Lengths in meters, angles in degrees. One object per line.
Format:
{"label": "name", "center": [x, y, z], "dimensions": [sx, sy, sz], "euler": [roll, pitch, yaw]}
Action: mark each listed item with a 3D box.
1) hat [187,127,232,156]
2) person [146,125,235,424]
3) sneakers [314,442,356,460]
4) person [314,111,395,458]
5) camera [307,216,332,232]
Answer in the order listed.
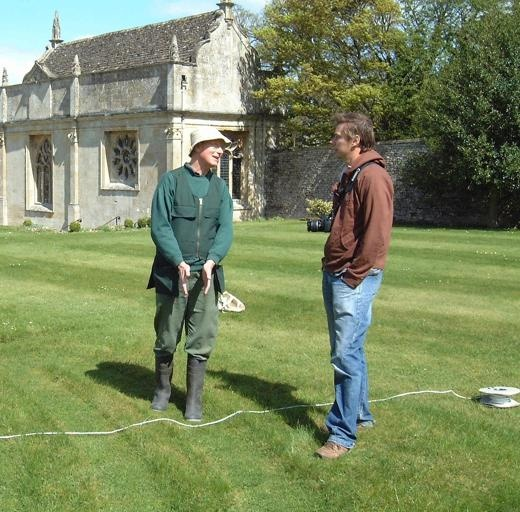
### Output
{"label": "hat", "center": [-0.409, -0.898, 4.922], "dimensions": [0.243, 0.158, 0.204], "euler": [-10, -4, 14]}
{"label": "person", "center": [-0.527, 0.131, 4.925], "dimensions": [0.603, 2.169, 0.490], "euler": [2, 3, -6]}
{"label": "sneakers", "center": [0.469, 1.260, 4.260], "dimensions": [0.215, 0.106, 0.090], "euler": [-5, 11, 11]}
{"label": "person", "center": [0.645, 0.156, 4.427], "dimensions": [0.457, 2.269, 0.601], "euler": [2, 3, 6]}
{"label": "camera", "center": [0.427, -0.262, 4.731], "dimensions": [0.144, 0.112, 0.149], "euler": [-1, -1, 4]}
